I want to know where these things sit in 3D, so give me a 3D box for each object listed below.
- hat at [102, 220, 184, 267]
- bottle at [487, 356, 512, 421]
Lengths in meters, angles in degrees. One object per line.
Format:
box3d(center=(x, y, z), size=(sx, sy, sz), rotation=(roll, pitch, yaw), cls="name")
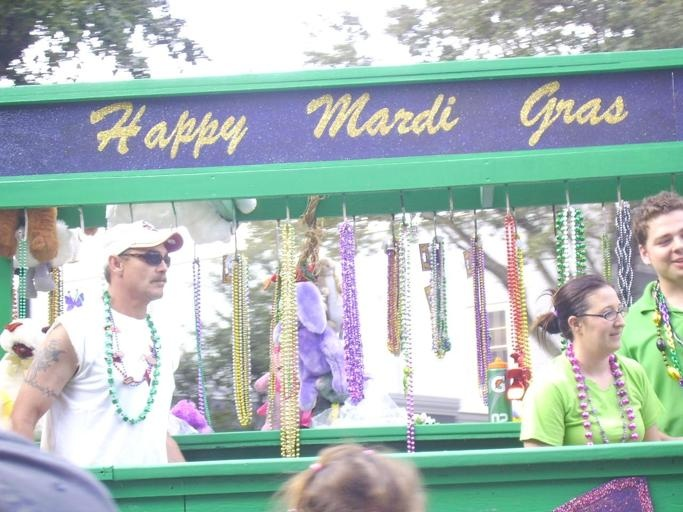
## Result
box3d(center=(-1.333, -0.095, 10.646), size=(0.510, 0.130, 0.286), rotation=(-13, -4, 1), cls="hat")
box3d(center=(1.089, 0.921, 11.037), size=(0.164, 0.439, 0.322), rotation=(-3, -8, 4), cls="bottle")
